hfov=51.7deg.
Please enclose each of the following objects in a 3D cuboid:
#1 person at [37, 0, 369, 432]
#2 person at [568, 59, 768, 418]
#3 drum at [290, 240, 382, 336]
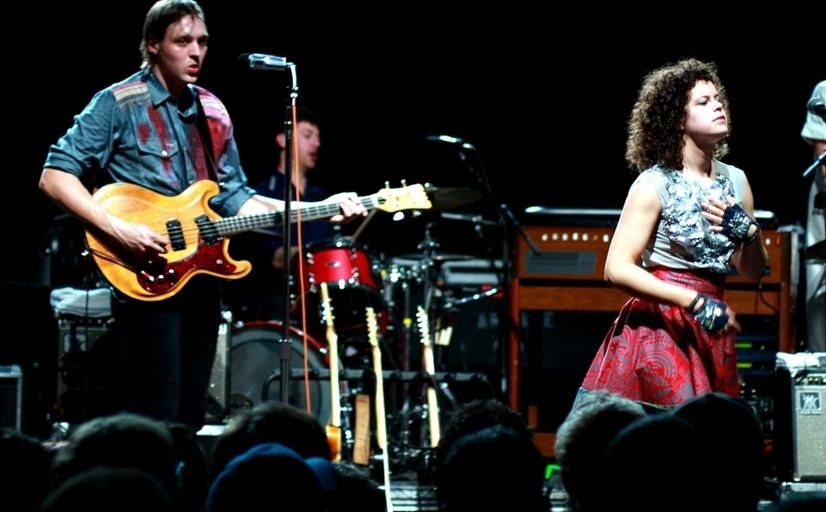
[{"bbox_3d":[-1.327,-0.249,4.532,1.210,2.269,0.487,4,-13,-23],"label":"person"},{"bbox_3d":[1.259,-0.123,4.202,0.822,1.704,0.337,-3,-13,10],"label":"person"},{"bbox_3d":[-0.528,0.282,6.001,0.613,0.452,0.604,-2,-38,-2],"label":"drum"}]
